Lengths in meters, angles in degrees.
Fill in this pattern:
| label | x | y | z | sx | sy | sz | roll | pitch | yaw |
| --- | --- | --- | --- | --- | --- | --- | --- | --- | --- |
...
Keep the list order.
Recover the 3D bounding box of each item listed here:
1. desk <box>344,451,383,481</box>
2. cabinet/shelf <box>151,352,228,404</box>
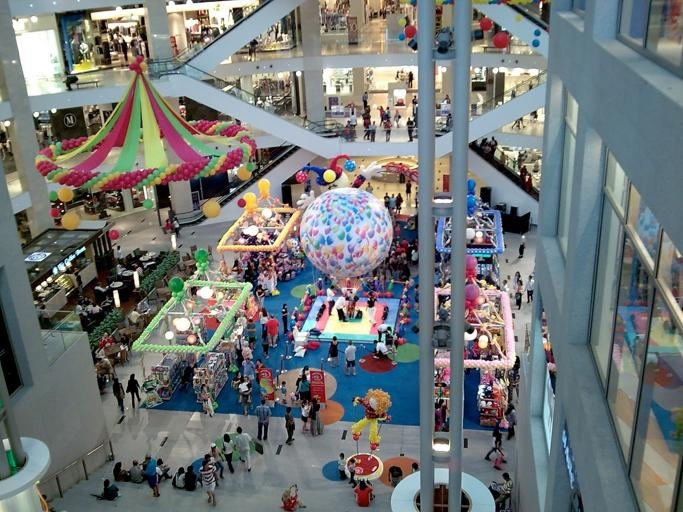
| label | x | y | z | sx | sy | sz | roll | pitch | yaw |
| --- | --- | --- | --- | --- | --- | --- | --- | --- | --- |
| desk | 0.526 | 4.729 | 11.936 | 0.748 | 0.382 | 0.652 | -4 | 13 | -7 |
| cabinet/shelf | -4.418 | 3.427 | 15.304 | 1.950 | 1.263 | 1.495 | 0 | 13 | 7 |
